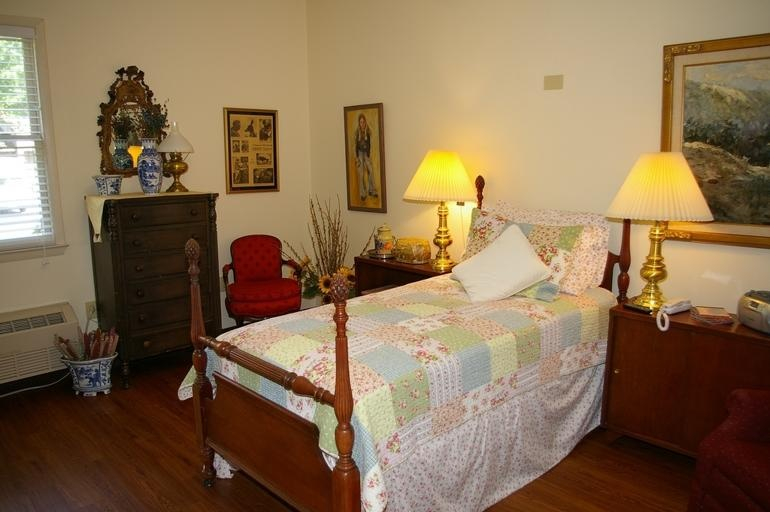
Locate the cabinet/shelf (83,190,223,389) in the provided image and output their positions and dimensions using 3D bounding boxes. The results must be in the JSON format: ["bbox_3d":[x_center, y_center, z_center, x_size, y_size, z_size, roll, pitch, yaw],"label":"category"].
[{"bbox_3d":[-2.315,0.255,5.488,1.048,1.870,0.689,-8,21,-32],"label":"cabinet/shelf"}]

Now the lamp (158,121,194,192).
[{"bbox_3d":[-2.174,-1.036,5.457,0.362,0.699,0.370,3,8,30],"label":"lamp"}]

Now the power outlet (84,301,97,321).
[{"bbox_3d":[-3.010,0.565,5.361,0.160,0.158,0.039,-5,11,-31],"label":"power outlet"}]

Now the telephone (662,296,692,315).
[{"bbox_3d":[2.150,0.360,3.853,0.174,0.055,0.129,-13,15,-29],"label":"telephone"}]

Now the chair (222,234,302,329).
[{"bbox_3d":[-1.380,0.362,5.840,0.846,1.187,0.720,-6,8,-35],"label":"chair"}]

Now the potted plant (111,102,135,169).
[{"bbox_3d":[-2.687,-1.209,5.358,0.181,0.616,0.212,-2,14,-3],"label":"potted plant"}]

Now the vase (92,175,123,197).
[{"bbox_3d":[-2.755,-0.665,5.196,0.218,0.190,0.249,5,6,32],"label":"vase"}]

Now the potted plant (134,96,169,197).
[{"bbox_3d":[-2.373,-1.119,5.376,0.303,0.888,0.581,-6,15,-18],"label":"potted plant"}]

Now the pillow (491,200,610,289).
[{"bbox_3d":[1.524,-0.109,4.543,0.731,0.773,0.184,3,-24,31],"label":"pillow"}]

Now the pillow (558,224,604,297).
[{"bbox_3d":[1.670,0.033,4.313,0.362,0.550,0.107,8,-7,25],"label":"pillow"}]

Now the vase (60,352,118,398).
[{"bbox_3d":[-2.806,1.134,5.003,0.470,0.383,0.445,2,3,41],"label":"vase"}]
